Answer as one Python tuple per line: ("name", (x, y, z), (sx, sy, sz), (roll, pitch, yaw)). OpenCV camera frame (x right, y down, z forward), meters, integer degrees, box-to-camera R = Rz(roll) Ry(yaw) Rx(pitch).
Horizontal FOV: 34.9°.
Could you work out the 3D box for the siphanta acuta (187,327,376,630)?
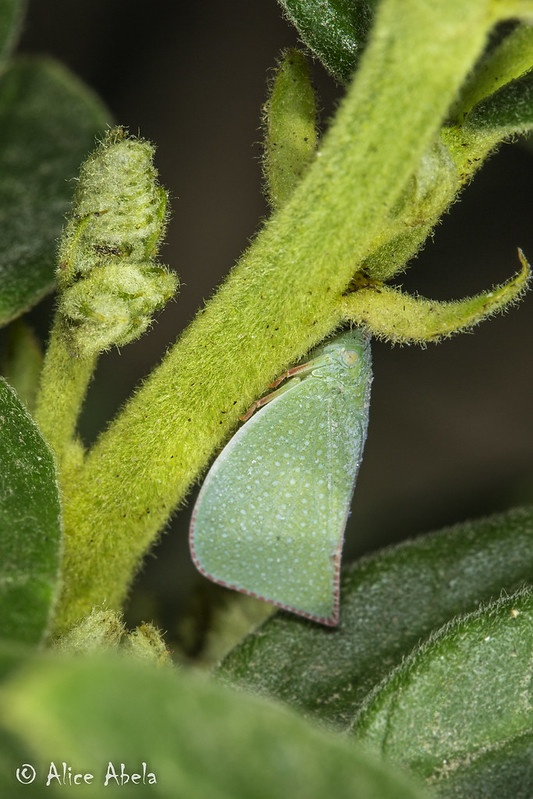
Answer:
("siphanta acuta", (0.025, 0.064, 0.918), (0.222, 0.307, 0.085), (27, -12, -34))
